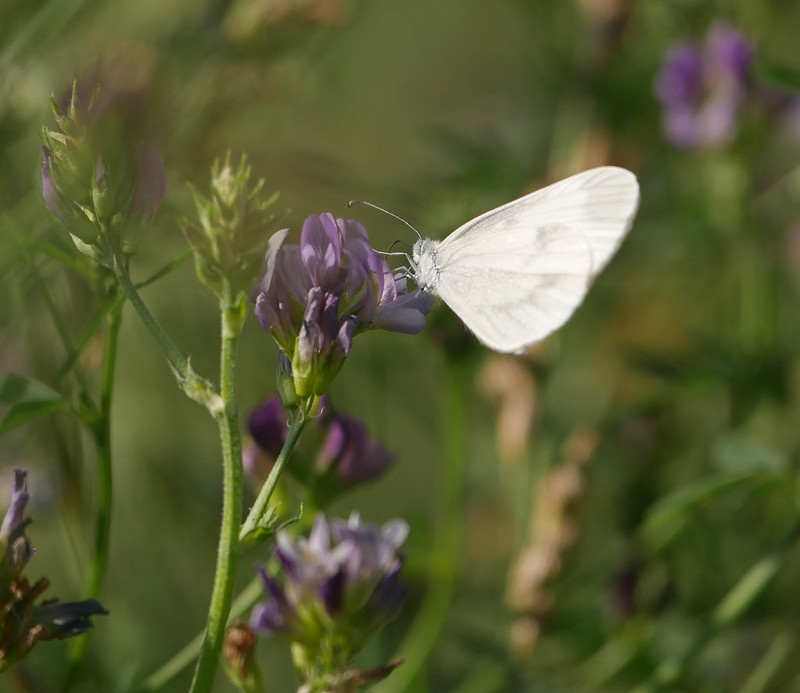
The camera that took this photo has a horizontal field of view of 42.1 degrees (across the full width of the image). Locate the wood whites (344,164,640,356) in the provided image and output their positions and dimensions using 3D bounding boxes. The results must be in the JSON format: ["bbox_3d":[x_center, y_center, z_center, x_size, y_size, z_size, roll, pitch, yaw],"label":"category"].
[{"bbox_3d":[0.063,-0.058,0.668,0.165,0.100,0.123,-27,40,-19],"label":"wood whites"}]
